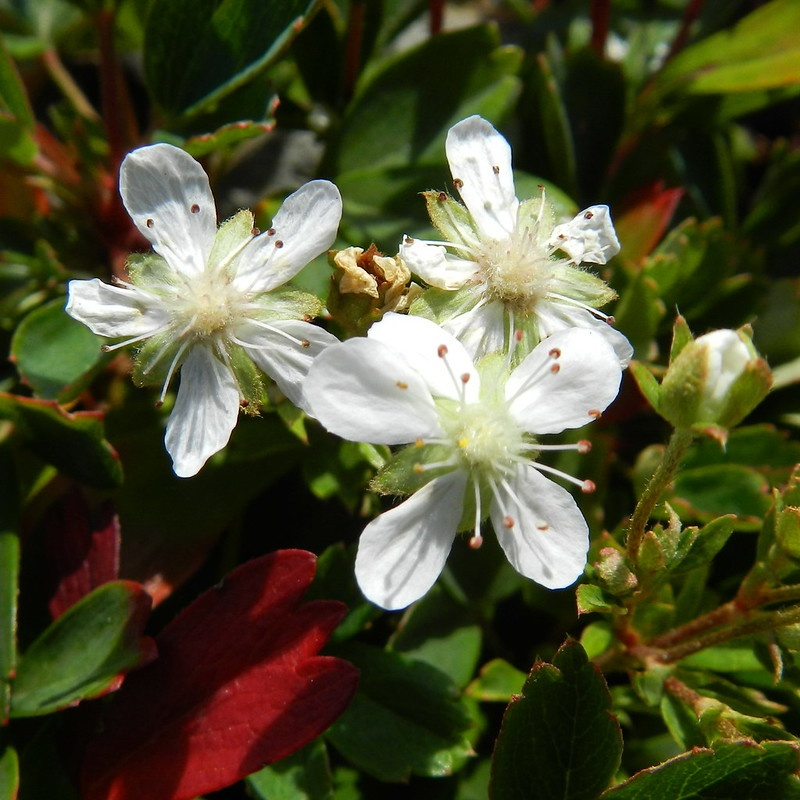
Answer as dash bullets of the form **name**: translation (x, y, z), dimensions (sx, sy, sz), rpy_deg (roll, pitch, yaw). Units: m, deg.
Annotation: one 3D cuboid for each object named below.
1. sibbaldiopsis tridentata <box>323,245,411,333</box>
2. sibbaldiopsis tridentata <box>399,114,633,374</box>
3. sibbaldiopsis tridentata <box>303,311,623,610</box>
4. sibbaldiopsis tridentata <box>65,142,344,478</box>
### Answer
- **sibbaldiopsis tridentata**: translation (-0.024, -0.147, 1.267), dimensions (0.104, 0.053, 0.112), rpy_deg (14, 10, 5)
- **sibbaldiopsis tridentata**: translation (0.171, -0.190, 1.323), dimensions (0.350, 0.132, 0.445), rpy_deg (24, 47, -7)
- **sibbaldiopsis tridentata**: translation (0.033, 0.043, 1.272), dimensions (0.399, 0.384, 0.141), rpy_deg (-32, 19, -5)
- **sibbaldiopsis tridentata**: translation (-0.262, -0.128, 1.233), dimensions (0.348, 0.338, 0.316), rpy_deg (0, 36, 13)
